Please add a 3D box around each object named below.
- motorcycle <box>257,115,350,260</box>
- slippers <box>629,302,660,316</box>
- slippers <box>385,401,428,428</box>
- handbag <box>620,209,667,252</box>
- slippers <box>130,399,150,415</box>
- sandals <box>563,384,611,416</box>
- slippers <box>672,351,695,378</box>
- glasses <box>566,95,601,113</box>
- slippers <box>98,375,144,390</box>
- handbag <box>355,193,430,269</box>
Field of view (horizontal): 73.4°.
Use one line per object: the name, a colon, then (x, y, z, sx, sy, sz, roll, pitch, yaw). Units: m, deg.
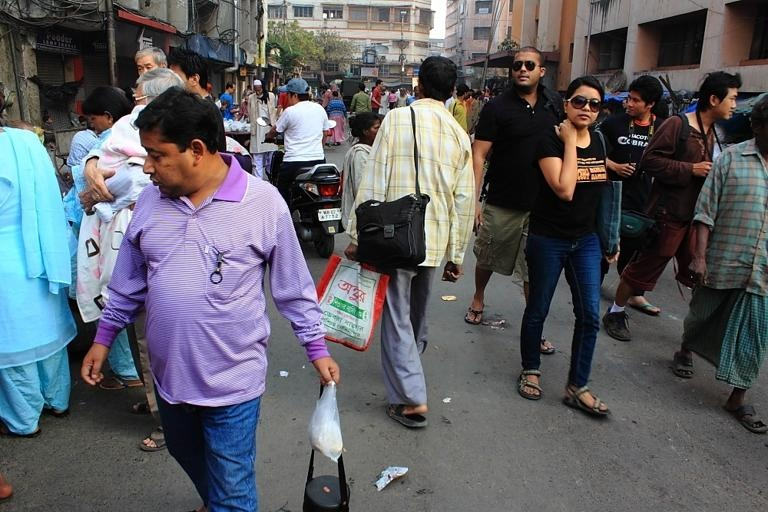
motorcycle: (-1.094, -0.987, 8.201, 1.162, 1.667, 2.444, -1, 22, -19)
slippers: (3.003, 0.605, 5.916, 0.123, 0.062, 0.260, 1, 6, -37)
slippers: (0.171, 1.209, 3.948, 0.300, 0.121, 0.136, 16, 30, 18)
handbag: (2.495, -0.244, 4.893, 0.167, 0.259, 0.310, -15, 36, -30)
slippers: (-1.849, 1.146, 3.908, 0.114, 0.049, 0.139, 5, -4, -12)
sandals: (1.632, 1.138, 4.127, 0.324, 0.138, 0.174, 14, 31, 34)
slippers: (2.747, 0.994, 4.682, 0.128, 0.094, 0.325, 0, 25, 10)
glasses: (1.495, -1.137, 3.832, 0.247, 0.110, 0.125, 9, 18, 19)
slippers: (-2.151, 1.030, 4.222, 0.344, 0.144, 0.137, 5, 6, -17)
handbag: (0.056, -0.175, 3.692, 0.534, 0.532, 0.295, -1, -7, 24)
